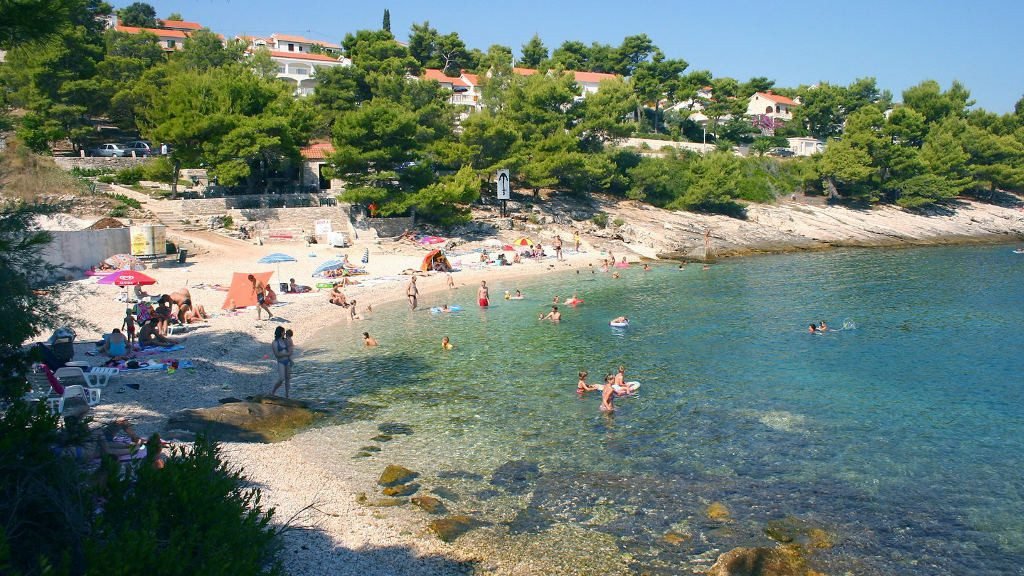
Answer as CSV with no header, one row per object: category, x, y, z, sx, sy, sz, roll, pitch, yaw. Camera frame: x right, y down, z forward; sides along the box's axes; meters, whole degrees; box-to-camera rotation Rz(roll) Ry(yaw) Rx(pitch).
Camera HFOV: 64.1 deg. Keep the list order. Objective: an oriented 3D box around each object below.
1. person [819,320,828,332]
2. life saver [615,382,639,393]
person,25.355,3.035,66.395,0.678,0.810,1.949,1,8,24
life saver,7.836,6.798,55.679,1.104,0.282,0.866,-4,8,-27
